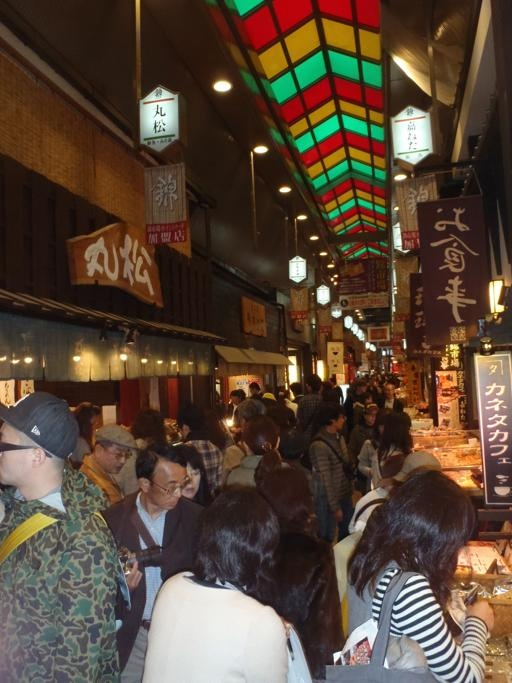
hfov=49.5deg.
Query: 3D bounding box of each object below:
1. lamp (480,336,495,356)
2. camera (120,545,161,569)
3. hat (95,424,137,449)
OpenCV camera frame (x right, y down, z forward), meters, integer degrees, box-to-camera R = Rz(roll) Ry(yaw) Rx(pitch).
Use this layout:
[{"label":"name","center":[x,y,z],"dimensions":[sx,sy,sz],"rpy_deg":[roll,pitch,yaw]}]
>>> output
[{"label":"lamp","center":[1.301,0.021,3.126],"dimensions":[0.071,0.105,0.069],"rpy_deg":[-25,9,-31]},{"label":"camera","center":[-0.484,0.921,2.373],"dimensions":[0.207,0.078,0.116],"rpy_deg":[7,-33,-14]},{"label":"hat","center":[-0.949,0.644,3.794],"dimensions":[0.205,0.090,0.173],"rpy_deg":[11,-6,-4]}]
